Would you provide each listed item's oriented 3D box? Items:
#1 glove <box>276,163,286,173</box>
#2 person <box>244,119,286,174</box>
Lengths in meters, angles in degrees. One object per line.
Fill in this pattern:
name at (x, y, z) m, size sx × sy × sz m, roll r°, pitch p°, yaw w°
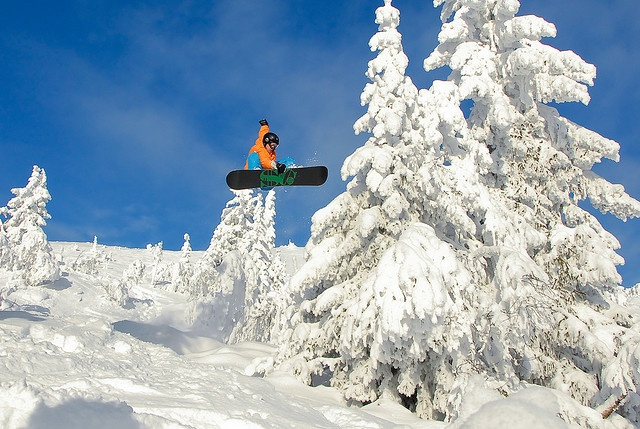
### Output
glove at (-1.577, -1.909, 26.196) m, size 0.337 × 0.379 × 0.267 m, roll -11°, pitch 7°, yaw -13°
person at (-2.024, -2.802, 26.202) m, size 1.364 × 0.943 × 2.021 m, roll 24°, pitch -35°, yaw 0°
